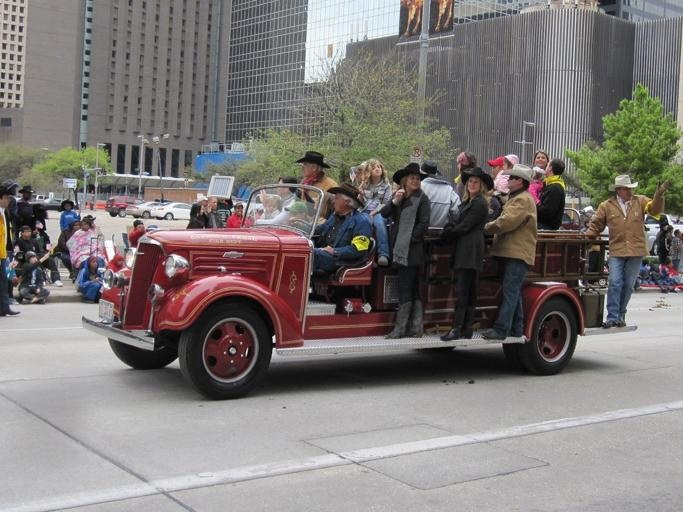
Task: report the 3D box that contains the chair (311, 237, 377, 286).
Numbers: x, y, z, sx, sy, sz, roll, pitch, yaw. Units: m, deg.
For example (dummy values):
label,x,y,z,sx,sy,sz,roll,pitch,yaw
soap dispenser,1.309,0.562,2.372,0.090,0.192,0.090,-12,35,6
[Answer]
label,x,y,z,sx,sy,sz,roll,pitch,yaw
chair,0.061,0.031,9.904,0.549,0.705,0.688,4,-1,-15

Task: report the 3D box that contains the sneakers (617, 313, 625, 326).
label,x,y,z,sx,sy,sz,roll,pitch,yaw
sneakers,4.266,0.989,11.666,0.126,0.273,0.370,2,5,20

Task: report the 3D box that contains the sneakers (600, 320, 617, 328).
label,x,y,z,sx,sy,sz,roll,pitch,yaw
sneakers,3.989,1.036,11.383,0.333,0.153,0.108,9,-11,-38

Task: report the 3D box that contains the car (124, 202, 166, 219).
label,x,y,z,sx,sy,sz,roll,pitch,yaw
car,-16.109,-3.784,63.177,2.911,1.012,1.218,-5,6,-37

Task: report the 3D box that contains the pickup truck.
label,x,y,z,sx,sy,sz,roll,pitch,yaw
pickup truck,0.542,0.333,10.677,7.899,2.600,2.607,0,6,-24

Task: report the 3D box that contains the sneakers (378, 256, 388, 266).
label,x,y,z,sx,sy,sz,roll,pitch,yaw
sneakers,0.540,0.070,9.775,0.130,0.141,0.082,11,-17,-12
